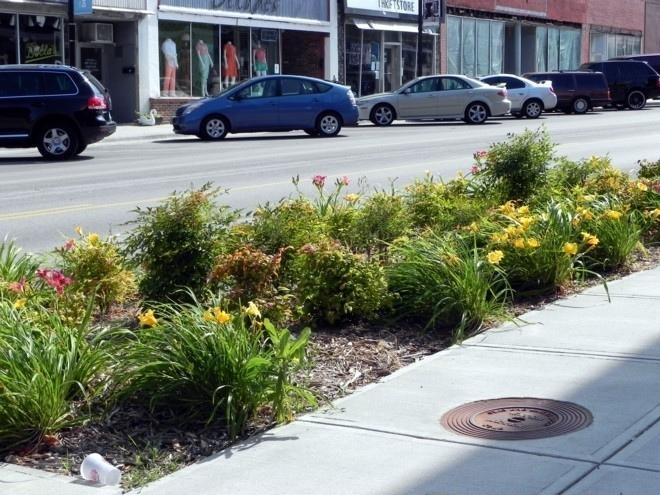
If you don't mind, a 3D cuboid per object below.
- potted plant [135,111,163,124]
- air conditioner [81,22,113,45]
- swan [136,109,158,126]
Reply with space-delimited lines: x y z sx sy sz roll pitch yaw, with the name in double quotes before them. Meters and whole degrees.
"potted plant" -7.929 -5.641 28.855 0.574 0.486 0.874 0 10 3
"air conditioner" -10.362 -9.491 29.093 0.886 0.945 1.465 -3 4 -9
"swan" -8.050 -5.676 28.740 0.662 0.733 0.715 1 10 -1
